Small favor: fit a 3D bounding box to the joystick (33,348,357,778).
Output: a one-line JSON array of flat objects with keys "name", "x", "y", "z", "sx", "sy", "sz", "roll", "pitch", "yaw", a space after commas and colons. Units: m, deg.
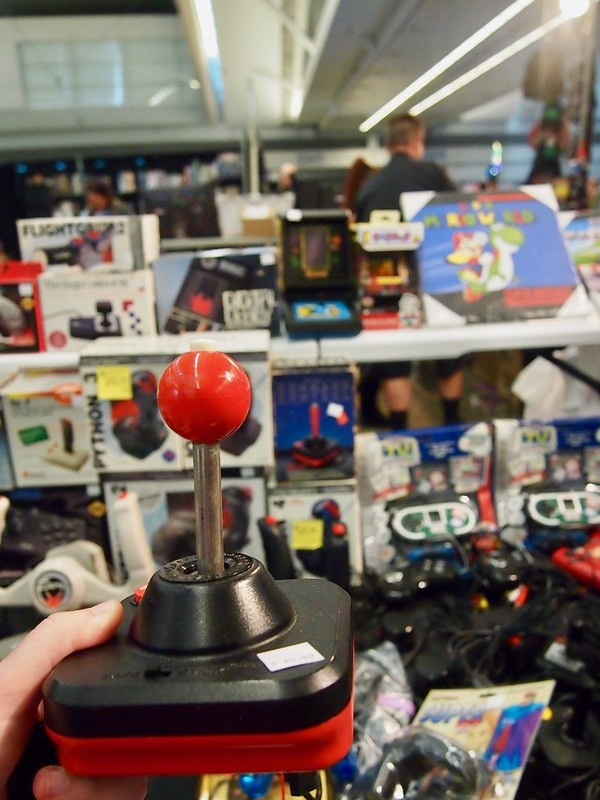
[{"name": "joystick", "x": -0.076, "y": 0.123, "z": 0.575, "sx": 0.282, "sy": 0.267, "sz": 0.273, "roll": -6, "pitch": 9, "yaw": -23}]
